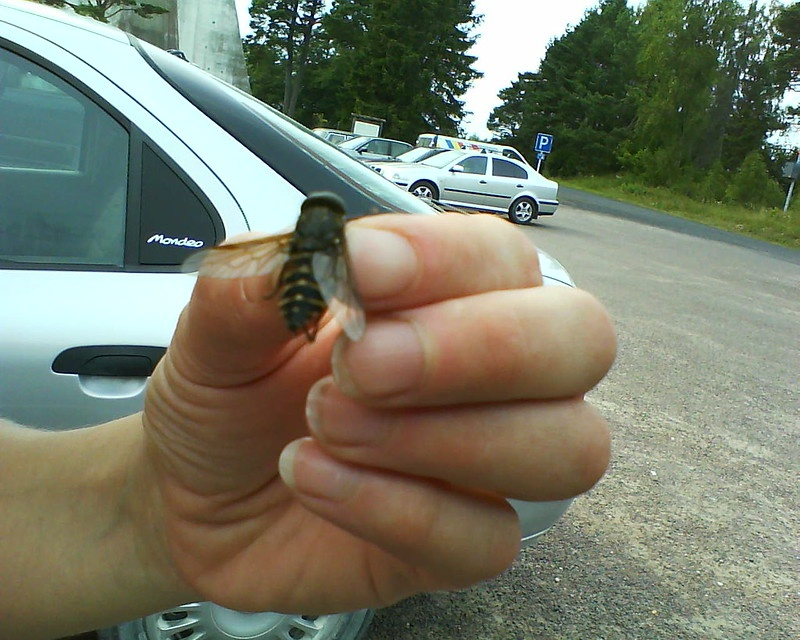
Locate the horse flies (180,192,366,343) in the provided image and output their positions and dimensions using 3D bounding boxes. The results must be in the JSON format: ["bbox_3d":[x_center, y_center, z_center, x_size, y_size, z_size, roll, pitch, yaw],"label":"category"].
[{"bbox_3d":[-0.196,-0.110,1.280,0.360,0.240,0.113,18,20,19],"label":"horse flies"}]
